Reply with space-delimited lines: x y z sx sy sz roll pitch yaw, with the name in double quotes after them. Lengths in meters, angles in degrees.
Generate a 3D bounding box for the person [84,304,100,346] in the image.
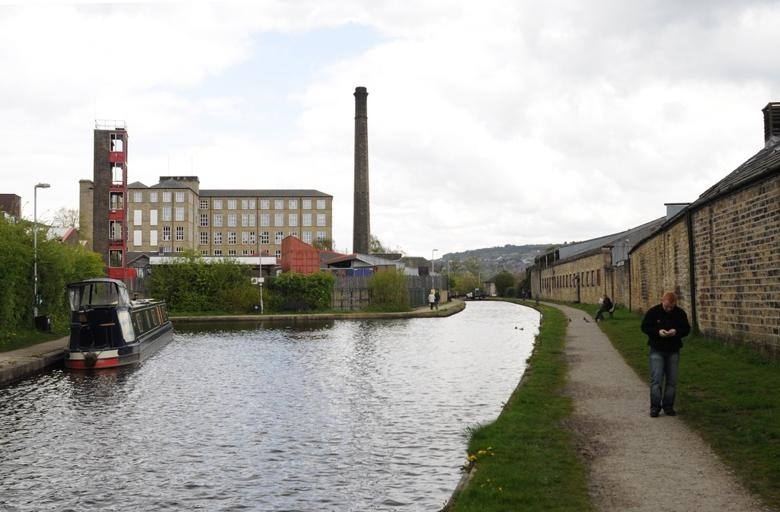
-11.480 2.690 29.186 0.550 1.596 0.708 1 0 -24 "person"
